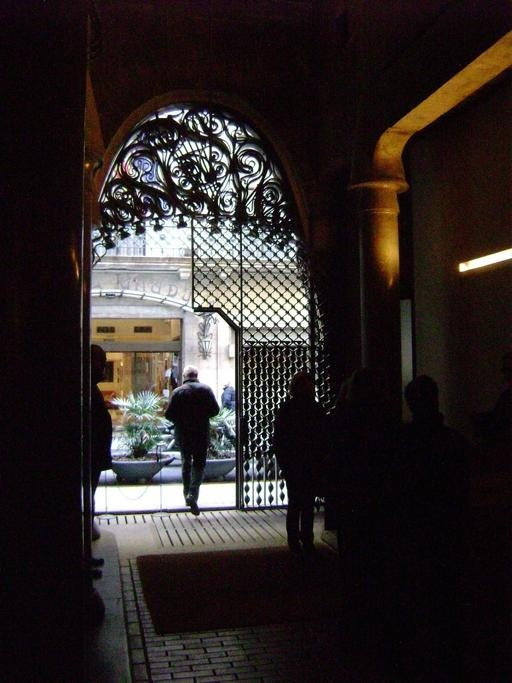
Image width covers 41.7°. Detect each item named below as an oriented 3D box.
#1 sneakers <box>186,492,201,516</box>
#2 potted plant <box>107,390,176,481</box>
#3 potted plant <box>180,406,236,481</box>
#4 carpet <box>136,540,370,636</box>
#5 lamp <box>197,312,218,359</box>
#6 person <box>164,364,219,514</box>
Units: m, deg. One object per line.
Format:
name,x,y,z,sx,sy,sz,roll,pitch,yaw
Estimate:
sneakers,-0.454,1.199,4.885,0.054,0.175,0.065,-29,-13,19
potted plant,-0.915,0.914,6.399,0.656,1.011,0.641,1,-7,-6
potted plant,-0.382,1.002,6.930,0.458,0.801,0.421,2,-2,42
carpet,-0.178,1.091,2.944,0.675,0.036,0.822,-7,-47,3
lamp,-0.706,-0.061,10.237,0.315,0.686,0.360,1,-5,-14
person,-0.493,0.710,5.296,0.296,0.986,0.379,4,-6,-44
